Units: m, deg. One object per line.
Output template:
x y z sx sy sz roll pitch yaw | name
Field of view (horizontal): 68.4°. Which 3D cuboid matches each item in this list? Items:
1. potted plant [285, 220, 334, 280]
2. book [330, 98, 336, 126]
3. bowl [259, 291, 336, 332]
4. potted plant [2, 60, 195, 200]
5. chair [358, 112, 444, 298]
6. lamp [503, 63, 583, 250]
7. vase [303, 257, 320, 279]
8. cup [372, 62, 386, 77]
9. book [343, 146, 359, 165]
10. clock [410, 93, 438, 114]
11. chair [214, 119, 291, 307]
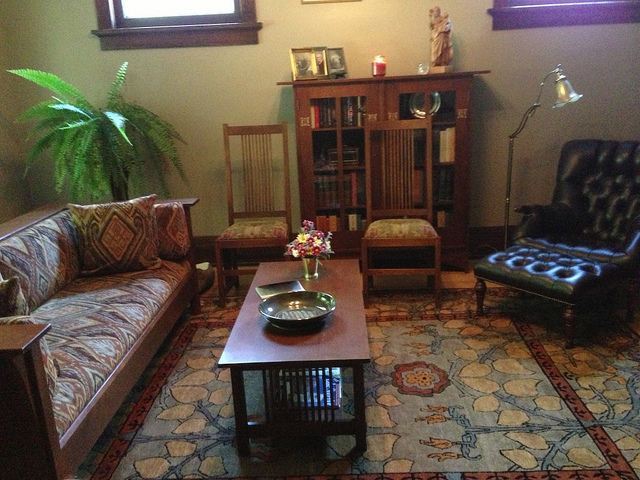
-0.112 0.083 2.597 0.224 0.241 0.261 -4 0 27 | potted plant
0.097 -0.941 3.481 0.042 0.193 0.027 -4 20 2 | book
-0.092 0.325 2.135 0.334 0.091 0.285 -7 16 -13 | bowl
-1.559 -0.784 3.488 1.076 1.107 0.954 -8 18 -12 | potted plant
0.538 -0.245 3.331 0.670 1.242 0.818 0 19 12 | chair
1.636 -0.435 3.450 0.423 1.566 0.509 -7 18 -29 | lamp
-0.051 0.154 2.568 0.122 0.107 0.112 0 8 3 | vase
0.440 -1.256 3.475 0.116 0.099 0.080 -8 18 -13 | cup
0.225 -0.637 3.553 0.166 0.121 0.080 -2 5 0 | book
0.755 -1.001 3.442 0.181 0.145 0.039 2 8 11 | clock
-0.499 -0.251 3.533 0.600 1.215 0.984 -7 18 -6 | chair
